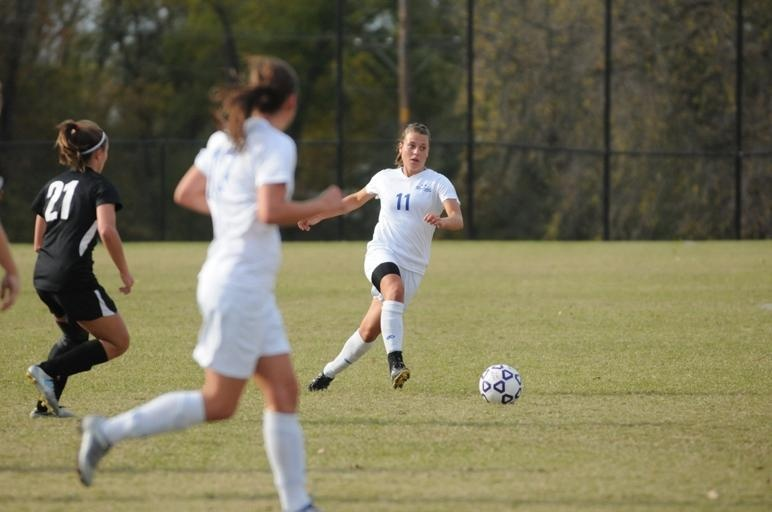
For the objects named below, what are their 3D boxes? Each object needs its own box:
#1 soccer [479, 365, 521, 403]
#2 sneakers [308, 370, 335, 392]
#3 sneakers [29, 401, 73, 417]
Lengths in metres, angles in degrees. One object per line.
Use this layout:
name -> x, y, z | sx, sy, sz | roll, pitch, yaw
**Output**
soccer -> 1.315, 1.637, 17.177 | 0.531, 0.427, 0.523 | -17, -9, 26
sneakers -> -0.867, 1.676, 17.379 | 0.309, 0.134, 0.215 | -4, 5, 1
sneakers -> -4.253, 1.931, 16.699 | 0.611, 0.230, 0.201 | 0, 0, -3
